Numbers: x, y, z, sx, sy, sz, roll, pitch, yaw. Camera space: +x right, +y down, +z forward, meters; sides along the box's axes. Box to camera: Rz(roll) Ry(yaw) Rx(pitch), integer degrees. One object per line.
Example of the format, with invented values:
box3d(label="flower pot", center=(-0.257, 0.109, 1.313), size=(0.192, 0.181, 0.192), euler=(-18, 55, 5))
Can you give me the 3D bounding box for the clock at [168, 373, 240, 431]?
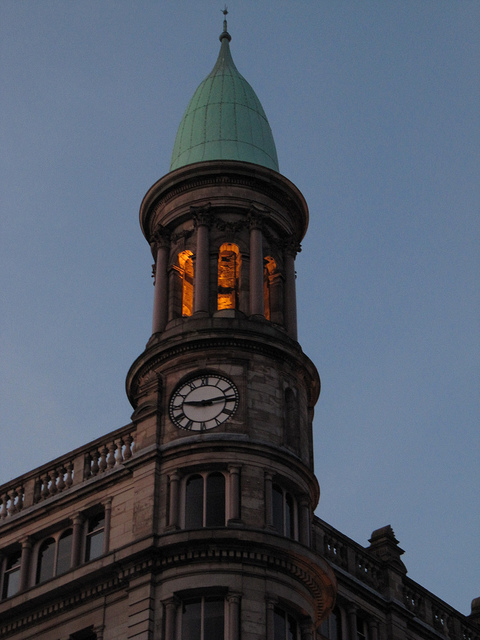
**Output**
box3d(label="clock", center=(-1.074, 2.643, 54.670), size=(2.091, 2.384, 0.176), euler=(1, -47, 11))
